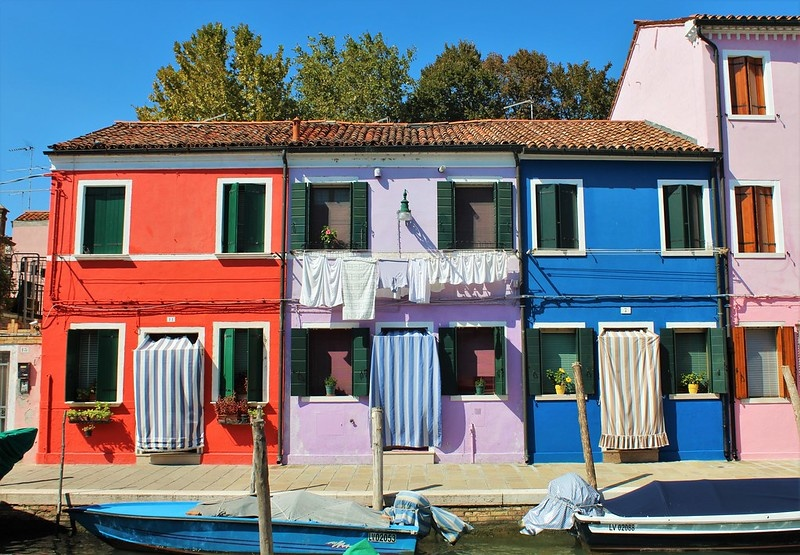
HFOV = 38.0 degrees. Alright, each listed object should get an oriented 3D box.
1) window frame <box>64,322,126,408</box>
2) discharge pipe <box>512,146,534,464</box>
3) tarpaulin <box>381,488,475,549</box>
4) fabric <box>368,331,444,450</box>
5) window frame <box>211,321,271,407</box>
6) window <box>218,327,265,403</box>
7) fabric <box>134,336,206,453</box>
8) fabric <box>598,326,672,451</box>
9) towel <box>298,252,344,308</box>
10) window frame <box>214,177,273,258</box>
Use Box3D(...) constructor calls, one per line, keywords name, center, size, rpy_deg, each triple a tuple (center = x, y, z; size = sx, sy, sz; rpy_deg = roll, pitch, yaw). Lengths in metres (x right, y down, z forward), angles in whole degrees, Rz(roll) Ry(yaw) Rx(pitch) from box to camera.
Box3D(name="window frame", center=(-10.409, 3.027, 40.328), size=(2.607, 2.927, 2.126), rpy_deg=(-3, -12, 8))
Box3D(name="discharge pipe", center=(4.170, 0.946, 39.527), size=(0.423, 10.534, 0.453), rpy_deg=(-3, -7, 5))
Box3D(name="tarpaulin", center=(0.589, 7.537, 35.501), size=(3.479, 1.423, 2.153), rpy_deg=(13, -20, -6))
Box3D(name="fabric", center=(0.246, 3.739, 39.027), size=(2.129, 3.641, 0.518), rpy_deg=(-3, -7, 7))
Box3D(name="window frame", center=(-5.394, 2.949, 39.403), size=(2.843, 3.838, 0.557), rpy_deg=(0, -6, -3))
Box3D(name="window", center=(-5.370, 2.933, 39.475), size=(1.524, 2.510, 0.448), rpy_deg=(-2, -7, -1))
Box3D(name="fabric", center=(-7.747, 3.932, 39.062), size=(2.223, 3.588, 0.562), rpy_deg=(-2, -7, -2))
Box3D(name="fabric", center=(7.757, 3.786, 39.124), size=(2.092, 3.911, 0.434), rpy_deg=(-3, -7, 7))
Box3D(name="towel", center=(-2.599, 0.084, 39.127), size=(1.908, 2.131, 0.230), rpy_deg=(1, -10, -5))
Box3D(name="window frame", center=(-5.364, -1.963, 39.863), size=(2.631, 3.570, 1.840), rpy_deg=(0, -5, -6))
